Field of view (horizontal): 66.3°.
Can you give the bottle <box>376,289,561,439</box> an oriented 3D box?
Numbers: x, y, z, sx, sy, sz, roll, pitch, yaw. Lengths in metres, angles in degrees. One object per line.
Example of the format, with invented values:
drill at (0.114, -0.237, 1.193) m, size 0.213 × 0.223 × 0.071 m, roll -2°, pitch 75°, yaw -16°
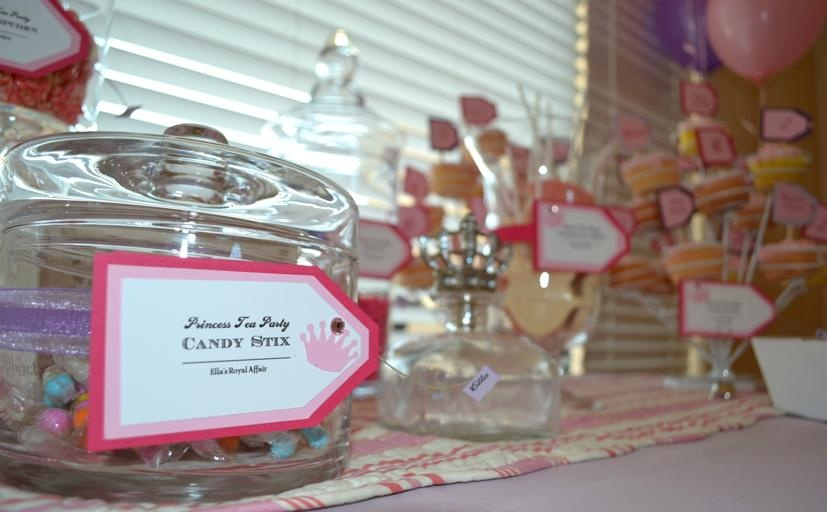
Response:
bottle at (0.084, 0.200, 1.130) m, size 0.295 × 0.196 × 0.263 m, roll 3°, pitch -14°, yaw -11°
